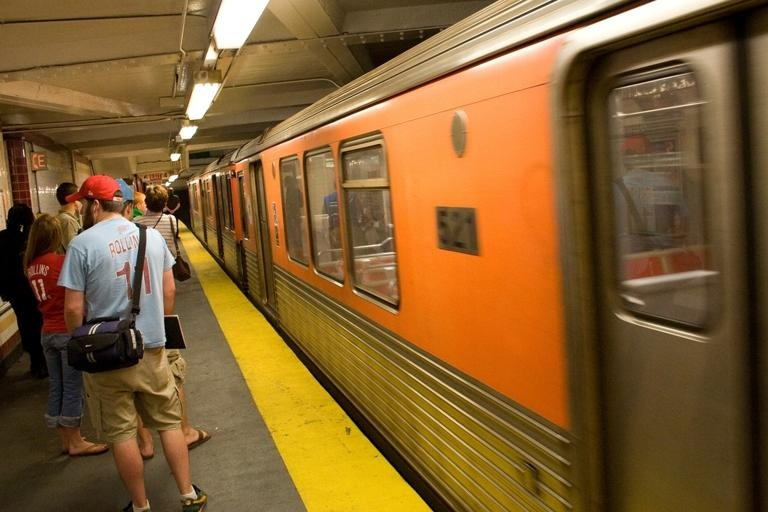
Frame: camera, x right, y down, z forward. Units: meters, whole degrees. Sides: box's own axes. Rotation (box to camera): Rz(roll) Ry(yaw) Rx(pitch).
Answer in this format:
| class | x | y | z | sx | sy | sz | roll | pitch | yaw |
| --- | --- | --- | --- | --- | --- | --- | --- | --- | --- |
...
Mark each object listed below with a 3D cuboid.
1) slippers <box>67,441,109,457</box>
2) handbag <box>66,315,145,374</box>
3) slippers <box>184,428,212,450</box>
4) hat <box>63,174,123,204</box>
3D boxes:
| class | x | y | z | sx | sy | sz | roll | pitch | yaw |
| --- | --- | --- | --- | --- | --- | --- | --- | --- | --- |
| slippers | -2.633 | 1.737 | 4.486 | 0.290 | 0.103 | 0.137 | -4 | 0 | -16 |
| handbag | -1.797 | 0.562 | 3.239 | 0.481 | 0.313 | 0.270 | -8 | -4 | 5 |
| slippers | -1.622 | 1.607 | 4.432 | 0.108 | 0.102 | 0.271 | -5 | 10 | 25 |
| hat | -2.007 | -0.464 | 3.453 | 0.363 | 0.168 | 0.211 | 1 | 8 | 0 |
